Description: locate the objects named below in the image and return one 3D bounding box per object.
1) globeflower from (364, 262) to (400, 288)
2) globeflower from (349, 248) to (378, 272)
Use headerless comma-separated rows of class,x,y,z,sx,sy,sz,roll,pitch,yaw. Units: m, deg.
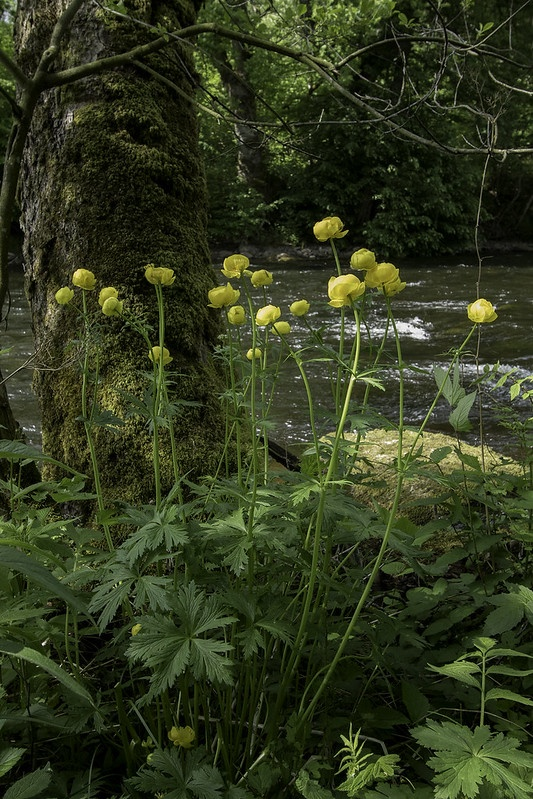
globeflower,0.219,-0.233,1.511,0.062,0.035,0.058,-22,-4,40
globeflower,0.184,-0.270,1.539,0.053,0.035,0.058,1,2,29
